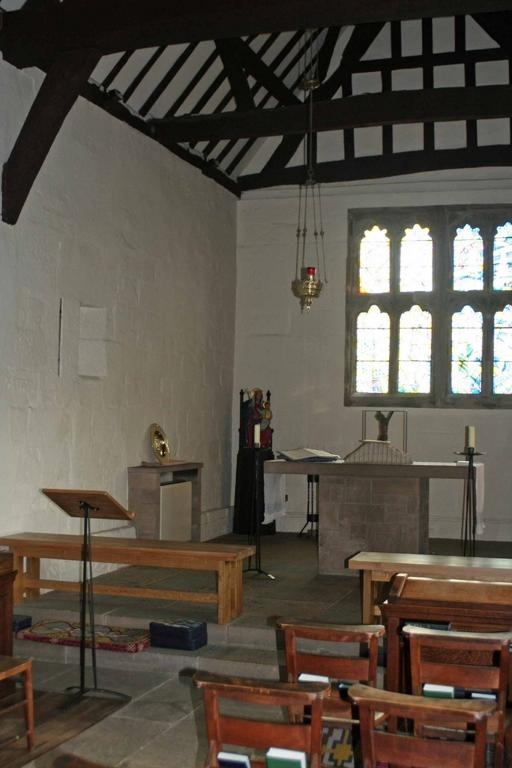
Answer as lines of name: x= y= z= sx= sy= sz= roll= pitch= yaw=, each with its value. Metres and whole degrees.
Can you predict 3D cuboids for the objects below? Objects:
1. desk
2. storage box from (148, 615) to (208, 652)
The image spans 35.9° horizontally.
desk: x=0.841 y=0.880 z=5.704 sx=0.982 sy=0.612 sz=1.002 roll=0 pitch=1 yaw=12
storage box: x=-0.443 y=1.416 z=4.467 sx=0.333 sy=0.139 sz=0.236 roll=1 pitch=-2 yaw=-4
